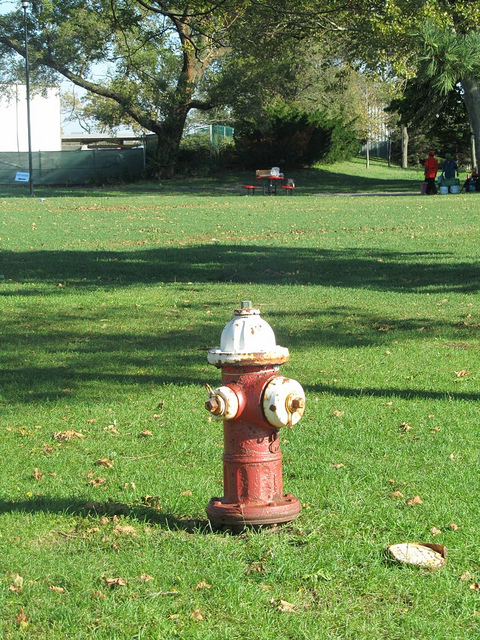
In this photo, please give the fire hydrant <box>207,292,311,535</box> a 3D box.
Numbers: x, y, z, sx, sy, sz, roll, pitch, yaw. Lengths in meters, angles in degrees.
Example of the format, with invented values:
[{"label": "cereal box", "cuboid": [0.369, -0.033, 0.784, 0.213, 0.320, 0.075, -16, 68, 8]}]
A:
[{"label": "fire hydrant", "cuboid": [0.128, 0.741, 10.342, 0.763, 1.778, 0.732, -6, 7, -41]}]
